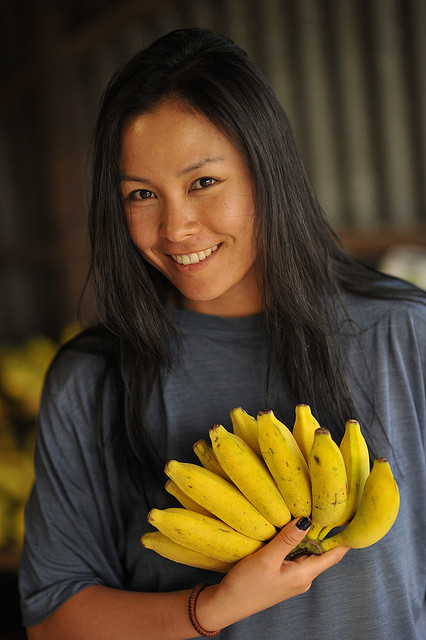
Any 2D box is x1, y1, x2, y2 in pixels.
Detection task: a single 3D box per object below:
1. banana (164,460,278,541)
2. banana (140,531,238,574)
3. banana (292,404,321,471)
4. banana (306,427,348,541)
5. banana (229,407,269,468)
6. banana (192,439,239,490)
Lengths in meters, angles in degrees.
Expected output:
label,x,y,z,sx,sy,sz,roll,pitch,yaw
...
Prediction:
label,x,y,z,sx,sy,sz,roll,pitch,yaw
banana,0.016,0.257,0.855,0.187,0.052,0.054,31,11,5
banana,-0.037,0.365,0.966,0.184,0.052,0.048,15,-14,-37
banana,0.134,0.171,0.882,0.033,0.089,0.033,-1,-7,-6
banana,0.160,0.225,0.833,0.048,0.161,0.058,-6,17,11
banana,0.045,0.173,0.914,0.033,0.094,0.033,-23,-2,-14
banana,-0.010,0.213,0.931,0.098,0.030,0.036,46,7,33
